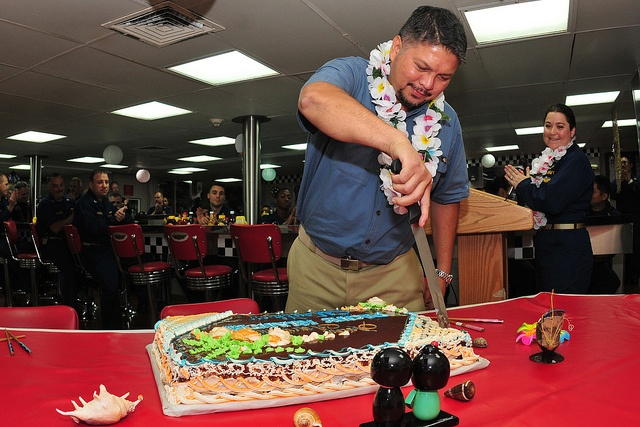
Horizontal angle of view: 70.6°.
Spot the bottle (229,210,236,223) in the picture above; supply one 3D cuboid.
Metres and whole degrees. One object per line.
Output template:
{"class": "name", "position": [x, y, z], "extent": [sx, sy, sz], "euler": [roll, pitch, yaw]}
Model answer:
{"class": "bottle", "position": [-1.389, 0.045, 7.074], "extent": [0.086, 0.151, 0.566], "euler": [-3, 5, -15]}

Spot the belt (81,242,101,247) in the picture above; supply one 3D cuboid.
{"class": "belt", "position": [-2.654, 0.350, 5.211], "extent": [0.209, 0.039, 0.036], "euler": [-1, 5, 15]}

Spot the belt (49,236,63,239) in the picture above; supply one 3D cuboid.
{"class": "belt", "position": [-3.301, 0.302, 5.628], "extent": [0.273, 0.043, 0.038], "euler": [0, 5, 29]}

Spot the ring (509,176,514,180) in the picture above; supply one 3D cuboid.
{"class": "ring", "position": [1.599, -0.291, 3.755], "extent": [0.014, 0.015, 0.026], "euler": [0, 9, -26]}

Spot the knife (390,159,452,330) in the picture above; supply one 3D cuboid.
{"class": "knife", "position": [0.463, 0.142, 2.090], "extent": [0.104, 0.805, 0.040], "euler": [-19, 0, -39]}

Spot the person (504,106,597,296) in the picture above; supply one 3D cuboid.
{"class": "person", "position": [1.783, -0.120, 3.481], "extent": [0.555, 1.440, 0.535], "euler": [1, 5, 33]}

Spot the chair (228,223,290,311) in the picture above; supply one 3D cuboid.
{"class": "chair", "position": [-0.560, 0.761, 4.676], "extent": [0.542, 1.170, 0.711], "euler": [-5, -8, 12]}

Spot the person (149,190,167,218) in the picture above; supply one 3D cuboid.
{"class": "person", "position": [-3.363, -0.208, 9.365], "extent": [0.246, 0.434, 0.913], "euler": [-4, 5, -19]}

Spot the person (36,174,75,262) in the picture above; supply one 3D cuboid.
{"class": "person", "position": [-3.445, 0.036, 5.848], "extent": [0.432, 1.116, 1.032], "euler": [-5, 5, -29]}

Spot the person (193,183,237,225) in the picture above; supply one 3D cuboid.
{"class": "person", "position": [-1.693, -0.142, 7.221], "extent": [0.566, 0.590, 1.332], "euler": [-4, 5, -18]}
